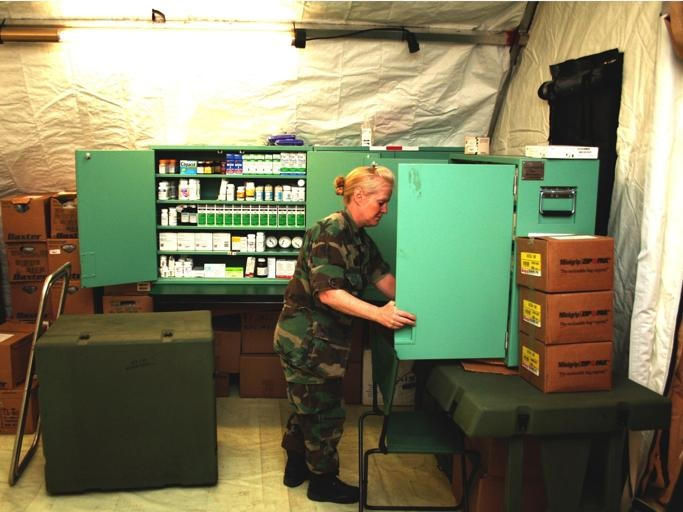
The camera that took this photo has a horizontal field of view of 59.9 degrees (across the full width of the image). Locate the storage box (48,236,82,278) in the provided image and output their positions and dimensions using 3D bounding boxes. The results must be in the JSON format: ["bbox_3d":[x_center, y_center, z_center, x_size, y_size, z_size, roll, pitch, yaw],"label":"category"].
[{"bbox_3d":[-2.151,0.003,4.622,0.362,0.330,0.258,0,1,-5],"label":"storage box"}]

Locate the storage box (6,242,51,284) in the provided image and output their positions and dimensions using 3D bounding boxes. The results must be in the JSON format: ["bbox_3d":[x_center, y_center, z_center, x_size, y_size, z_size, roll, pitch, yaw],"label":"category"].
[{"bbox_3d":[-2.512,0.013,4.987,0.421,0.381,0.302,1,11,-1],"label":"storage box"}]

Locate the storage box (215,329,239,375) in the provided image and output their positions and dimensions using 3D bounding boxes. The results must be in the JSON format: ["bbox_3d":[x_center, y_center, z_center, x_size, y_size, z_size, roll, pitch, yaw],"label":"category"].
[{"bbox_3d":[-0.910,0.787,4.790,0.211,0.354,0.079,-1,9,5],"label":"storage box"}]

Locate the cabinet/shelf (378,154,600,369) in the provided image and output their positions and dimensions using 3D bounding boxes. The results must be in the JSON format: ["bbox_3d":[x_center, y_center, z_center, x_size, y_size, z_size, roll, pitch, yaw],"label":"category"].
[{"bbox_3d":[0.787,0.015,3.725,1.119,1.108,1.253,0,5,-1],"label":"cabinet/shelf"}]

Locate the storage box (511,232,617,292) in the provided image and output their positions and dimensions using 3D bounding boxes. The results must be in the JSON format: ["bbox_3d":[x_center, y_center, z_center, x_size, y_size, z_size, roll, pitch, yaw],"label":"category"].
[{"bbox_3d":[1.153,0.044,3.014,0.436,0.272,0.304,2,-18,-1],"label":"storage box"}]
